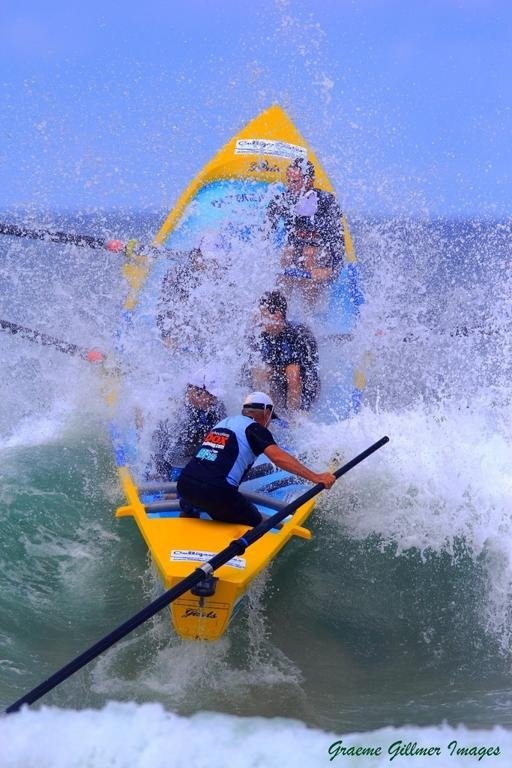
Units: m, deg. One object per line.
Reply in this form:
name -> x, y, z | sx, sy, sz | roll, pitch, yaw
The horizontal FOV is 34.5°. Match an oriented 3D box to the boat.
boat -> -0.275, -0.560, 6.945 | 1.916, 1.013, 5.057 | 3, 70, 3

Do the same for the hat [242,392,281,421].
hat -> 0.053, 0.165, 6.358 | 0.175, 0.277, 0.128 | 5, 83, 41

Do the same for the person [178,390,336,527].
person -> -0.031, 0.614, 6.426 | 0.934, 0.675, 0.931 | 20, 96, 32
